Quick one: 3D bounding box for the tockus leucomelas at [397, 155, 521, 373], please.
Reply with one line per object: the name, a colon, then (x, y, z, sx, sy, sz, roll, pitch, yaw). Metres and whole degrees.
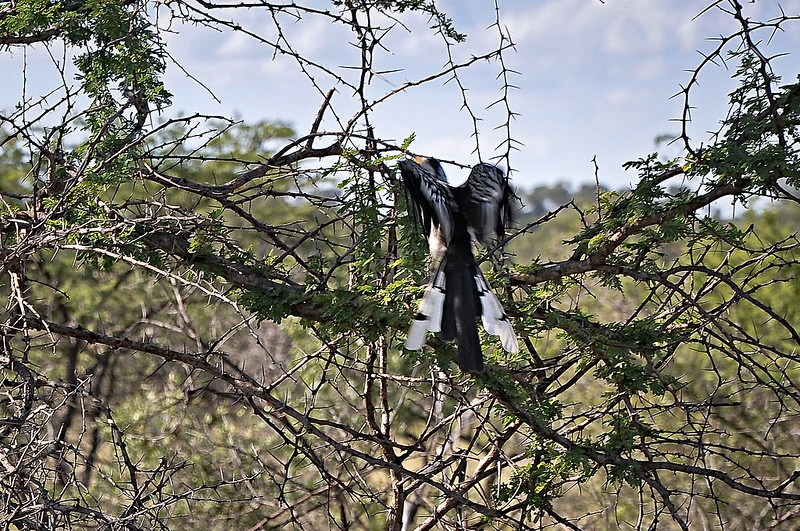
tockus leucomelas: (0.555, -0.132, 12.534, 1.083, 2.091, 1.387, -2, -59, -9)
